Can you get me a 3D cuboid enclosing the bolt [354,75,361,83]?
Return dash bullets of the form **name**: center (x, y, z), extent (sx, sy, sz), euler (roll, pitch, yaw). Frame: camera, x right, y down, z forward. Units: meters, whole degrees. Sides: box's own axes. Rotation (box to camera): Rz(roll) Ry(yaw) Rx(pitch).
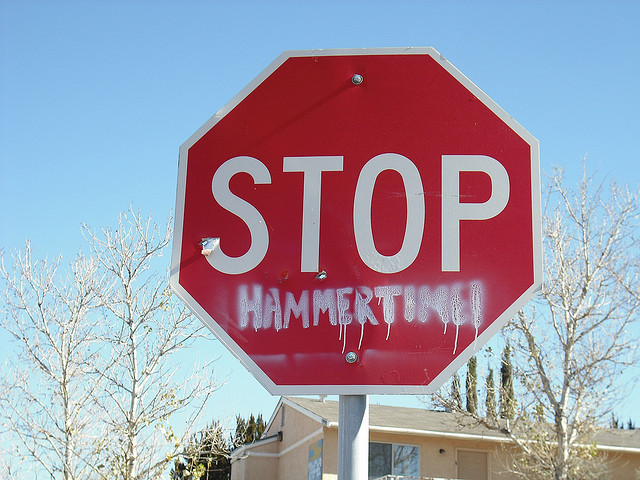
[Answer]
- **bolt**: center (0.315, -1.335, 7.630), extent (0.044, 0.052, 0.012), euler (8, 9, 11)
